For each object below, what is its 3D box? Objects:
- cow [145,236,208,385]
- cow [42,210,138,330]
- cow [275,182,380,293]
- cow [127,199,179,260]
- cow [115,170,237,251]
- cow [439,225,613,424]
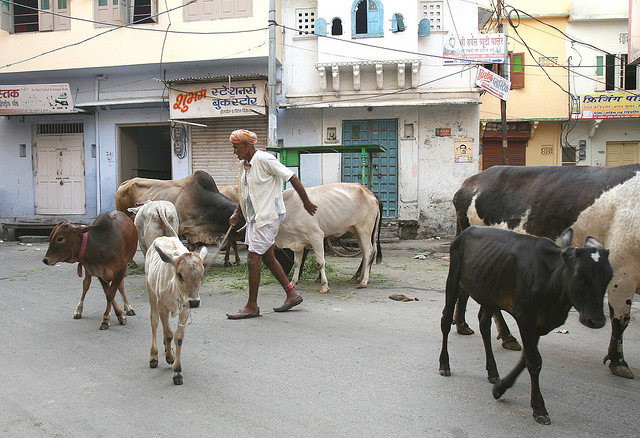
[{"bbox_3d":[-2.083,1.321,9.818,0.640,1.962,2.307,2,4,-23],"label":"cow"},{"bbox_3d":[-3.457,0.786,11.459,0.828,1.741,2.922,2,2,17],"label":"cow"},{"bbox_3d":[-0.065,0.339,13.418,2.767,2.073,0.722,-3,8,-24],"label":"cow"},{"bbox_3d":[-3.083,0.247,12.730,0.728,1.209,2.258,-6,8,-25],"label":"cow"},{"bbox_3d":[-3.095,-0.057,15.487,3.403,1.963,1.171,7,7,18],"label":"cow"},{"bbox_3d":[2.732,1.286,9.501,0.912,2.473,3.655,-4,8,-16],"label":"cow"}]
